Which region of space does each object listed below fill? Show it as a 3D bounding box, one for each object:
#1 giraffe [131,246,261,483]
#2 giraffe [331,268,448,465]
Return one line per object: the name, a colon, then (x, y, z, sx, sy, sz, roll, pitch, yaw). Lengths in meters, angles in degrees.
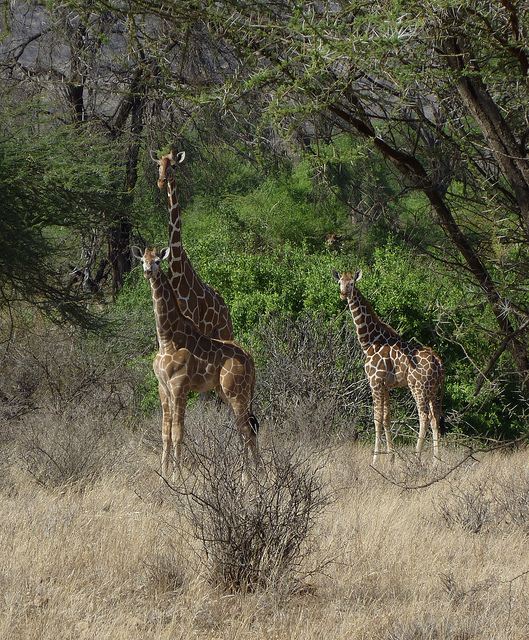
giraffe: (-0.494, 0.265, 6.042, 0.850, 1.690, 0.662, -5, 7, -9)
giraffe: (1.253, 0.383, 7.845, 0.957, 1.937, 1.704, -2, 8, 13)
